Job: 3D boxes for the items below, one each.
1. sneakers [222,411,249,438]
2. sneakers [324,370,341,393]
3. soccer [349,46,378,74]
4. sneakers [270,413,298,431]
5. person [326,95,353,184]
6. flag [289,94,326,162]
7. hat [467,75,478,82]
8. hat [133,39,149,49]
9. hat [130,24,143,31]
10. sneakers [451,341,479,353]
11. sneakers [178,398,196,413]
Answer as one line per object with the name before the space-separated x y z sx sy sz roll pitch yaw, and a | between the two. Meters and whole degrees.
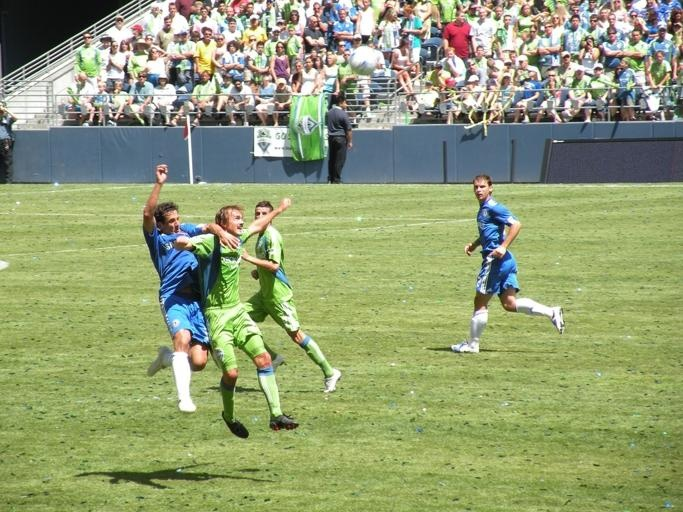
sneakers | -1.678 2.624 22.460 0.591 0.213 0.228 36 -14 -15
sneakers | -0.162 2.097 24.325 0.265 0.447 0.175 14 -1 -44
soccer | 0.678 -5.736 42.653 0.812 0.843 0.668 -4 7 -15
sneakers | -0.882 2.534 22.281 0.477 0.230 0.189 -2 38 7
person | -0.079 -3.325 41.287 0.646 2.559 1.067 -2 7 -1
flag | -0.992 -3.826 43.405 1.168 1.996 0.593 0 7 14
hat | 3.813 -5.144 42.195 0.298 0.174 0.097 2 8 31
hat | -6.305 -6.704 45.664 0.436 0.110 0.427 9 -19 -44
hat | -6.538 -7.305 46.790 0.333 0.146 0.435 7 7 0
sneakers | 2.181 1.610 25.678 0.496 0.174 0.178 3 3 12
sneakers | -2.344 2.276 22.027 0.262 0.214 0.239 -1 6 3
